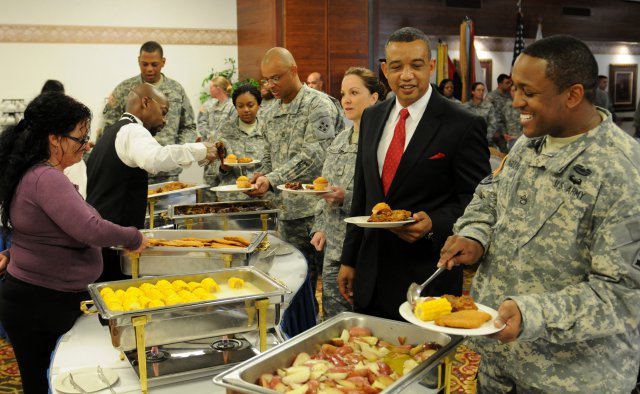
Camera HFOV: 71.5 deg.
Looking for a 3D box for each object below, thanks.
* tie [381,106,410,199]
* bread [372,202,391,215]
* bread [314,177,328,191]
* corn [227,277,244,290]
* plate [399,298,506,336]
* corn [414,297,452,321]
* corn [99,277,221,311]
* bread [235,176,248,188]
[{"bbox_3d":[0.421,-0.263,2.514,0.142,0.505,0.050,20,-8,22],"label":"tie"},{"bbox_3d":[0.322,0.058,2.343,0.079,0.021,0.073,-13,4,-26],"label":"bread"},{"bbox_3d":[-0.006,-0.096,3.141,0.106,0.075,0.099,0,0,22],"label":"bread"},{"bbox_3d":[-0.445,0.455,2.340,0.067,0.055,0.070,-2,1,-27],"label":"corn"},{"bbox_3d":[0.503,0.473,1.723,0.383,0.068,0.232,2,11,11],"label":"plate"},{"bbox_3d":[0.444,0.441,1.752,0.127,0.045,0.075,-8,50,-9],"label":"corn"},{"bbox_3d":[-0.769,0.468,2.163,0.564,0.089,0.256,-6,23,-21],"label":"corn"},{"bbox_3d":[-0.666,-0.129,3.758,0.113,0.076,0.101,-3,-6,-10],"label":"bread"}]
